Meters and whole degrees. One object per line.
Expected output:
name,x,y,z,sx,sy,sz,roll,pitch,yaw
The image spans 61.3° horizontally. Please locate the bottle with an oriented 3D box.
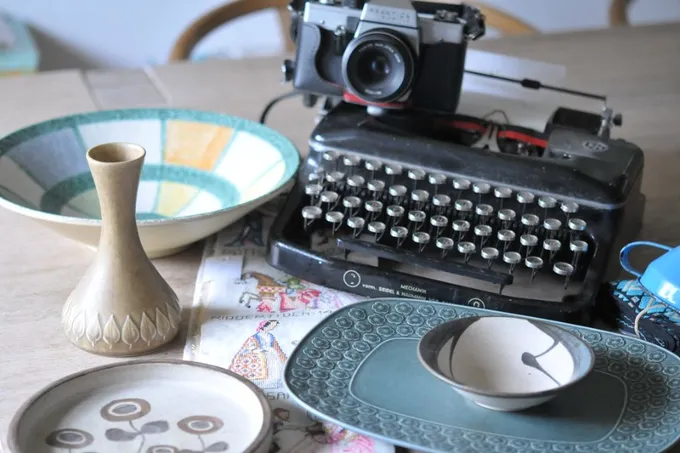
bottle,-0.294,0.038,0.751,0.153,0.272,0.112,-13,34,-26
